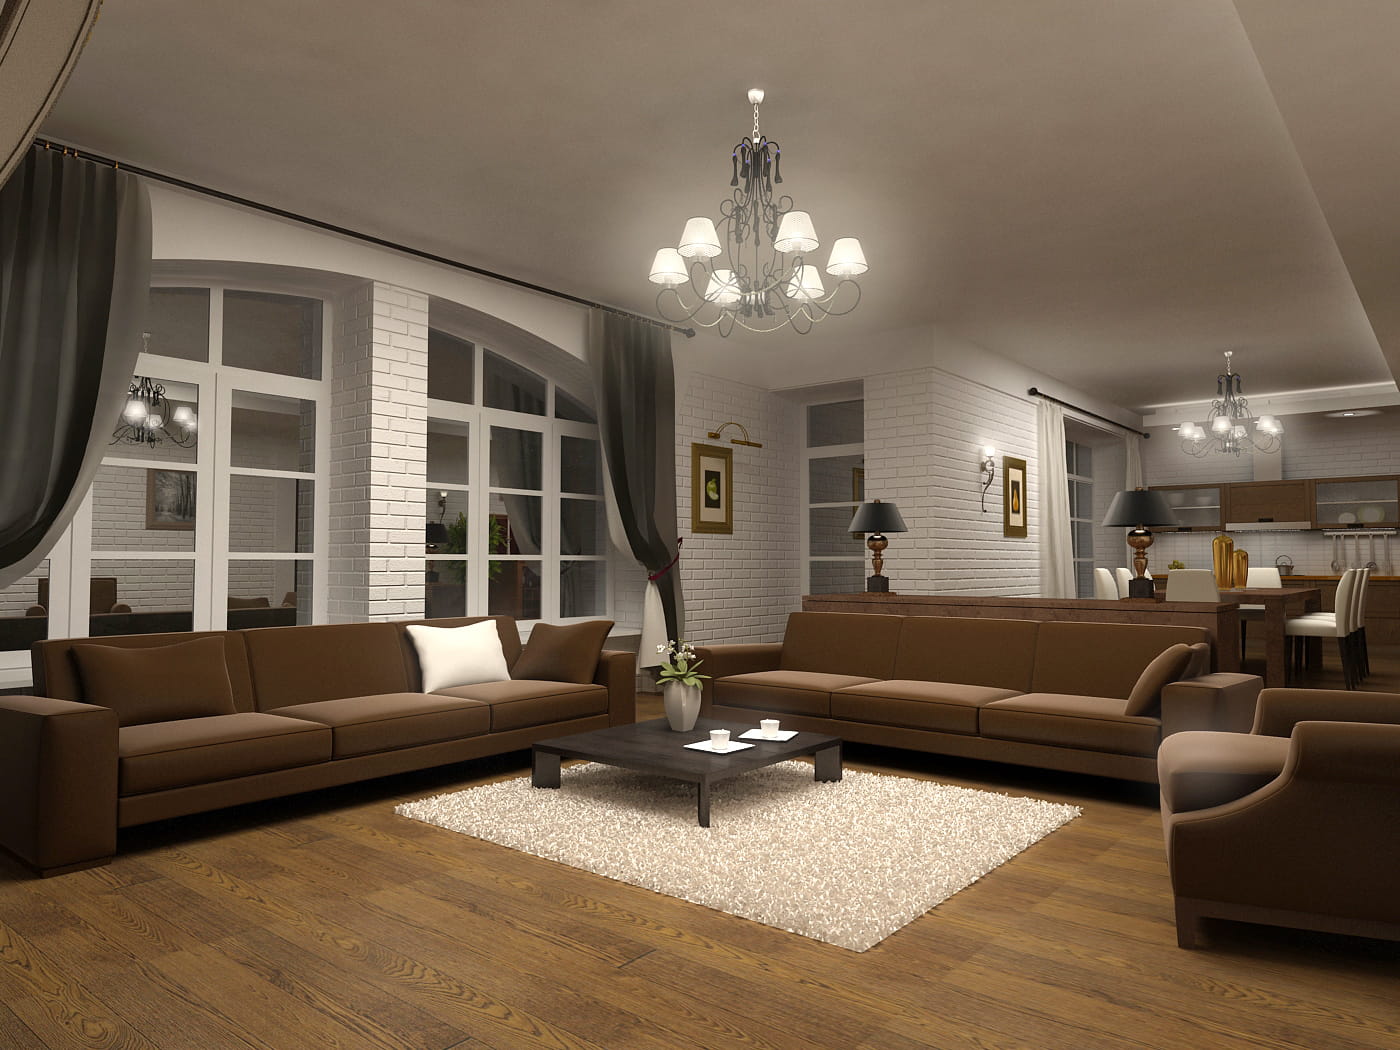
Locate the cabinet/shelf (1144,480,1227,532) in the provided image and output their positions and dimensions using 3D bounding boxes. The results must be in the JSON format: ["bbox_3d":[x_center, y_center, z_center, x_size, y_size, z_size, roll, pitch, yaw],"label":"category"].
[{"bbox_3d":[5.284,-0.201,9.773,0.582,0.527,0.196,-5,-8,44],"label":"cabinet/shelf"}]

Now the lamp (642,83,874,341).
[{"bbox_3d":[0.396,-1.572,5.087,1.119,1.375,1.081,0,2,-16],"label":"lamp"}]

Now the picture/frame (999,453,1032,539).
[{"bbox_3d":[3.055,-0.274,8.870,0.054,1.103,0.769,-3,-6,36],"label":"picture/frame"}]

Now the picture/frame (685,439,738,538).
[{"bbox_3d":[0.073,-0.313,7.892,0.079,1.064,0.785,-4,-6,38],"label":"picture/frame"}]

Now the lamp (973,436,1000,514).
[{"bbox_3d":[2.622,-0.462,8.391,0.210,0.680,0.671,-2,-5,27],"label":"lamp"}]

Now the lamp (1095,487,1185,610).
[{"bbox_3d":[2.728,0.142,5.640,0.439,0.730,0.453,-4,-6,24],"label":"lamp"}]

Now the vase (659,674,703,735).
[{"bbox_3d":[-0.088,0.957,4.861,0.240,0.260,0.256,-4,-6,37],"label":"vase"}]

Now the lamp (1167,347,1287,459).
[{"bbox_3d":[5.048,-1.271,8.666,0.816,0.977,0.801,-7,6,-37],"label":"lamp"}]

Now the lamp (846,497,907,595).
[{"bbox_3d":[1.323,0.165,6.775,0.434,0.742,0.425,1,3,-35],"label":"lamp"}]

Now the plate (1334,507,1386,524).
[{"bbox_3d":[7.452,-0.105,10.209,0.509,0.234,0.084,1,1,35],"label":"plate"}]

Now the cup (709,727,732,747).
[{"bbox_3d":[0.106,1.039,4.385,0.077,0.061,0.075,0,-5,0],"label":"cup"}]

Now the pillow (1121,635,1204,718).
[{"bbox_3d":[2.204,0.748,4.364,0.105,0.367,0.372,13,3,24],"label":"pillow"}]

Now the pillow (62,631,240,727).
[{"bbox_3d":[-2.540,0.731,4.240,0.195,0.379,0.628,1,2,45],"label":"pillow"}]

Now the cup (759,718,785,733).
[{"bbox_3d":[0.347,1.024,4.619,0.126,0.089,0.124,0,-8,0],"label":"cup"}]

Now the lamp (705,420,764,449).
[{"bbox_3d":[0.285,-0.824,8.163,0.572,0.254,0.164,0,-1,-41],"label":"lamp"}]
